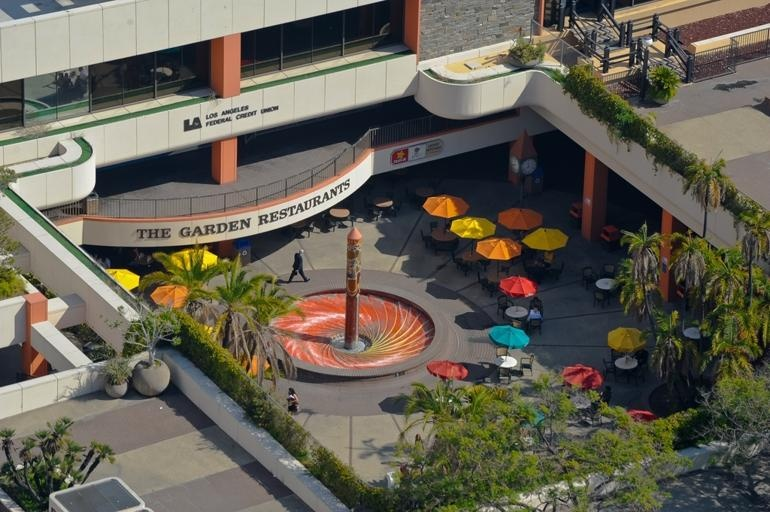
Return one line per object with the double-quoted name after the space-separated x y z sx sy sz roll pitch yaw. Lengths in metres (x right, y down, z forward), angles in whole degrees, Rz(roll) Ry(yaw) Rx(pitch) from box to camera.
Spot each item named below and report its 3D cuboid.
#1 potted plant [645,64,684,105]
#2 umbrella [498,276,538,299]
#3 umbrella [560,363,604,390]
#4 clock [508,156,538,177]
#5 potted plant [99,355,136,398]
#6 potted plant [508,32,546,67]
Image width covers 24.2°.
14.125 -8.711 93.372 1.826 1.873 1.874 11 38 14 "potted plant"
6.599 1.697 91.431 1.817 0.907 1.284 1 28 27 "umbrella"
9.207 6.007 85.755 1.544 0.629 1.582 16 38 23 "umbrella"
7.598 -4.963 101.048 1.170 1.158 1.196 1 24 2 "clock"
-12.111 5.594 81.735 1.818 1.932 1.596 2 10 -3 "potted plant"
7.383 -10.867 97.111 1.639 1.181 1.749 0 35 -1 "potted plant"
